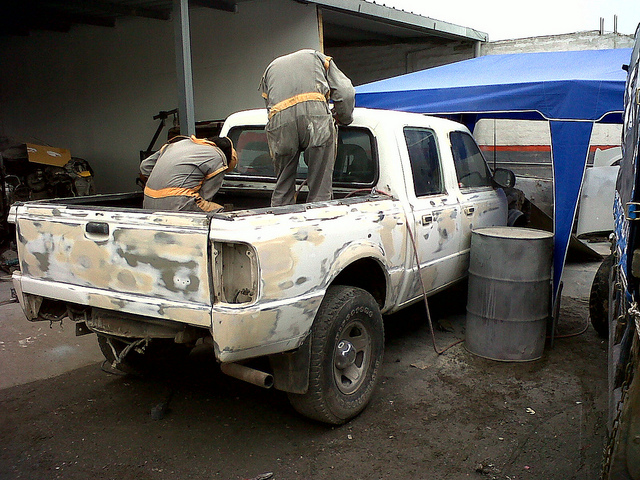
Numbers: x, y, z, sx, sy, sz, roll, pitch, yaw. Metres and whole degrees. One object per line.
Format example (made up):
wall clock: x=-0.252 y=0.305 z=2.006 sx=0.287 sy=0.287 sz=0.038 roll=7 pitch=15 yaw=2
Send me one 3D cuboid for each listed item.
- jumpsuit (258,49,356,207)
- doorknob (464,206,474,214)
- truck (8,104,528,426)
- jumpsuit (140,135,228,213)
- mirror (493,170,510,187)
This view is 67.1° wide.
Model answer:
jumpsuit: x=-0.085 y=-1.031 z=4.507 sx=0.821 sy=1.400 sz=0.574 roll=-1 pitch=13 yaw=-5
doorknob: x=1.578 y=-0.312 z=5.077 sx=0.129 sy=0.093 sz=0.070 roll=-6 pitch=5 yaw=-39
truck: x=0.040 y=0.147 z=4.840 sx=2.470 sy=2.092 sz=4.673 roll=10 pitch=21 yaw=36
jumpsuit: x=-1.274 y=-0.597 z=4.504 sx=0.721 sy=0.871 sz=0.619 roll=-2 pitch=10 yaw=-44
mirror: x=2.171 y=-0.732 z=5.745 sx=0.185 sy=0.205 sz=0.196 roll=6 pitch=15 yaw=23
